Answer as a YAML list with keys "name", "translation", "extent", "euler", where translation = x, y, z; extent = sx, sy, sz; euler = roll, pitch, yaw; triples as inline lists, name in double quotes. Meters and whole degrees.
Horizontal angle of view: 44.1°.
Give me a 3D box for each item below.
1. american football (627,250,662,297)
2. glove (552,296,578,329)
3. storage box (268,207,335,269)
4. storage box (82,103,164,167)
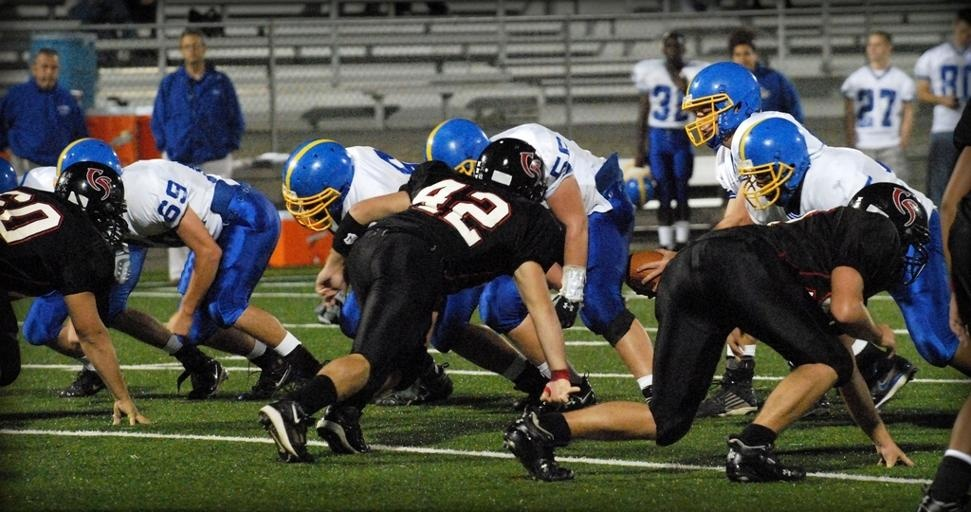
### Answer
- name: "american football"
  translation: [1.148, 0.128, 8.104]
  extent: [0.329, 0.220, 0.241]
  euler: [0, -32, 31]
- name: "glove"
  translation: [0.492, 0.369, 7.781]
  extent: [0.174, 0.203, 0.079]
  euler: [7, 21, -27]
- name: "storage box"
  translation: [-2.047, -0.240, 13.448]
  extent: [0.864, 0.562, 0.797]
  euler: [-1, 2, -37]
- name: "storage box"
  translation: [-3.626, -1.182, 11.888]
  extent: [0.663, 0.586, 1.041]
  euler: [4, -36, -24]
